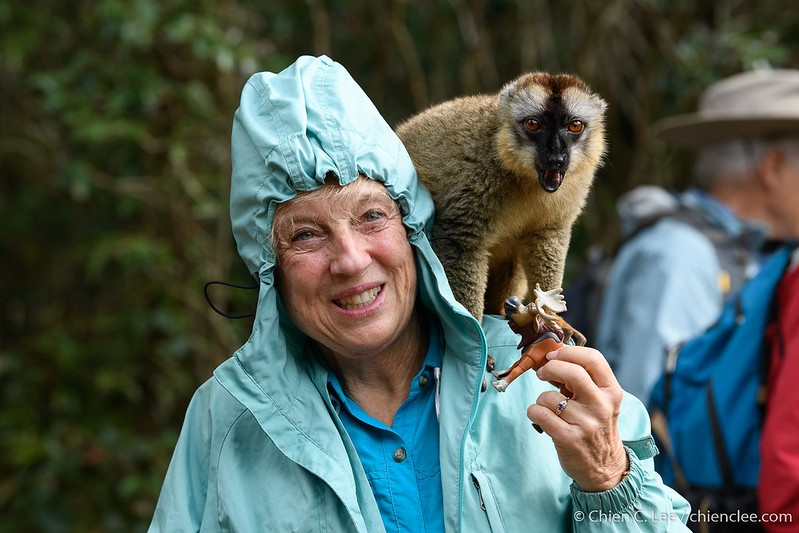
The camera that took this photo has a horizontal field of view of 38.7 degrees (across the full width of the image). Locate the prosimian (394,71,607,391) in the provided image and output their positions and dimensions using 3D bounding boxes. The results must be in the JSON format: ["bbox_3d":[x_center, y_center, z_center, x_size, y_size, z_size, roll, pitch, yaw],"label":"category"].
[{"bbox_3d":[0.662,-0.263,7.163,1.998,1.841,1.202,2,13,-5],"label":"prosimian"}]
